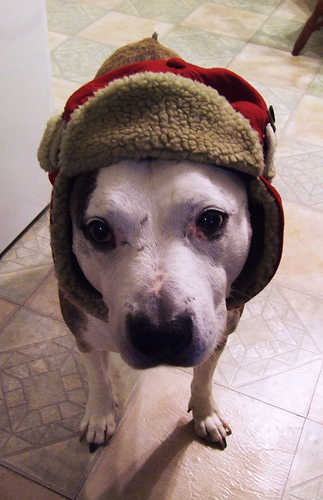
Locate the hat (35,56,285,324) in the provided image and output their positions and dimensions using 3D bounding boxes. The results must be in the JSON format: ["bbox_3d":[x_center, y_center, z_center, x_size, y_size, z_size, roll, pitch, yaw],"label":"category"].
[{"bbox_3d":[0.019,-0.201,1.010,0.421,0.427,0.610,-2,39,7],"label":"hat"}]
